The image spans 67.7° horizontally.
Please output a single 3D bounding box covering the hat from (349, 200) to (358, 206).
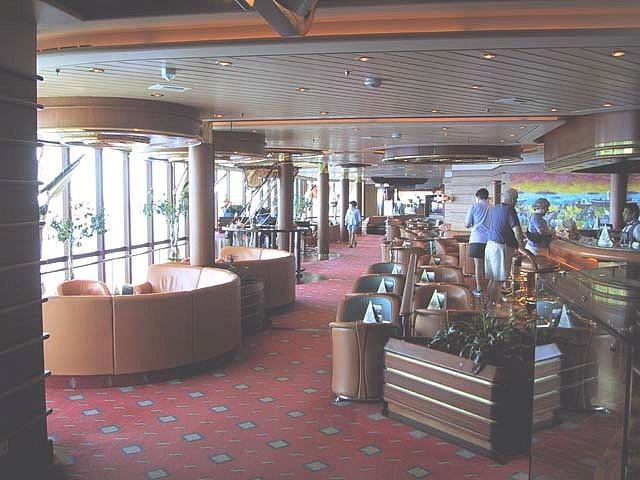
[{"bbox_3d":[1.528,-1.636,21.367,0.407,0.312,0.104,12,4,32],"label":"hat"}]

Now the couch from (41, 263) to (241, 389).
[{"bbox_3d":[-2.217,1.063,5.833,1.934,0.622,1.710,2,2,10],"label":"couch"}]

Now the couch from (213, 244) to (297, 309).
[{"bbox_3d":[-1.166,0.702,8.984,1.559,0.467,1.348,2,4,-5],"label":"couch"}]
